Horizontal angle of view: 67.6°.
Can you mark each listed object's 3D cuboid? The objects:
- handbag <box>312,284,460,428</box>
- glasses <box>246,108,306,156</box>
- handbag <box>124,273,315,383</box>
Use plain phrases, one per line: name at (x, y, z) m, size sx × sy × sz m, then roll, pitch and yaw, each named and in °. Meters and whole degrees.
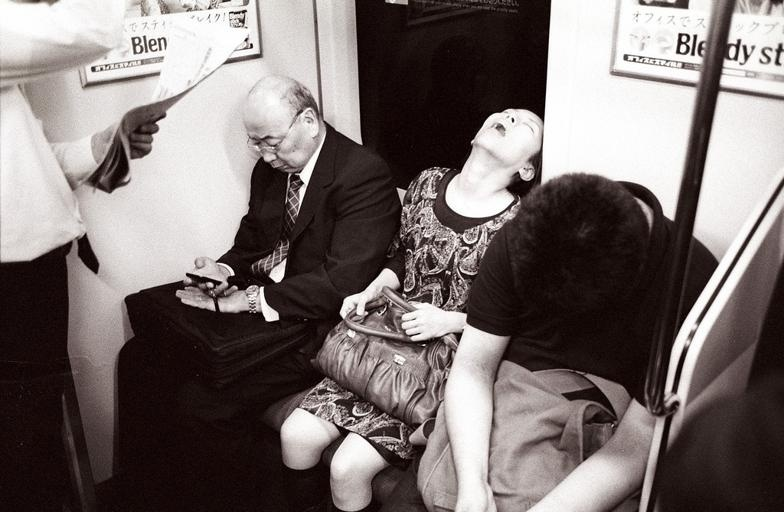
handbag at (0.006, 0.261, 1.641) m, size 0.427 × 0.308 × 0.237 m, roll 22°, pitch 13°, yaw 36°
glasses at (-0.325, -0.354, 1.721) m, size 0.142 × 0.042 × 0.135 m, roll -46°, pitch 20°, yaw -16°
handbag at (-0.481, 0.230, 1.726) m, size 0.306 × 0.094 × 0.307 m, roll 11°, pitch 9°, yaw 17°
